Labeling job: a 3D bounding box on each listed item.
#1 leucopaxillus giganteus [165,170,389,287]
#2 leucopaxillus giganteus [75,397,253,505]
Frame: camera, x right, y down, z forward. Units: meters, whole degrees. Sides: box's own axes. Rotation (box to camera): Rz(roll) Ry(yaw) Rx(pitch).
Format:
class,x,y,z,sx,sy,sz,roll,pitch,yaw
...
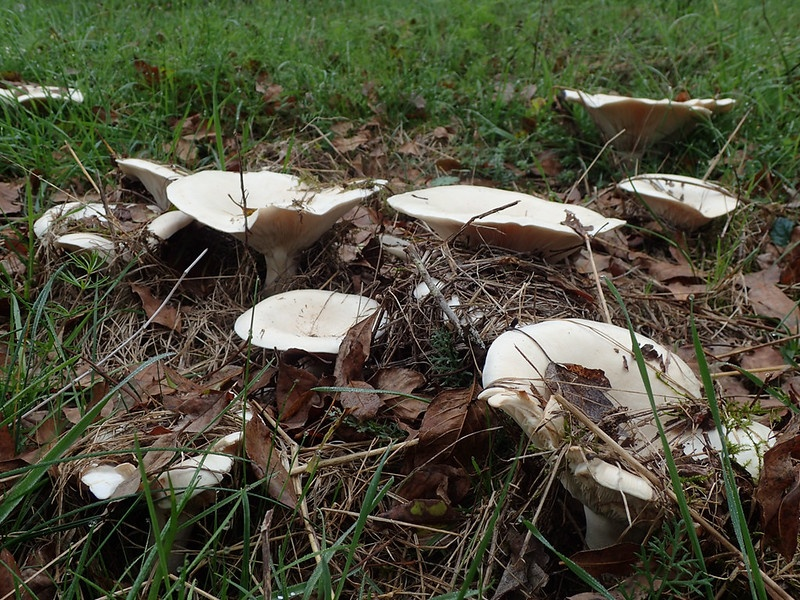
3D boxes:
class,x,y,z,sx,sy,sz,roll,pitch,yaw
leucopaxillus giganteus,-0.832,-0.590,4.481,1.015,0.538,0.974,-3,26,-42
leucopaxillus giganteus,-1.038,0.642,3.375,0.573,0.212,0.545,-34,27,15
